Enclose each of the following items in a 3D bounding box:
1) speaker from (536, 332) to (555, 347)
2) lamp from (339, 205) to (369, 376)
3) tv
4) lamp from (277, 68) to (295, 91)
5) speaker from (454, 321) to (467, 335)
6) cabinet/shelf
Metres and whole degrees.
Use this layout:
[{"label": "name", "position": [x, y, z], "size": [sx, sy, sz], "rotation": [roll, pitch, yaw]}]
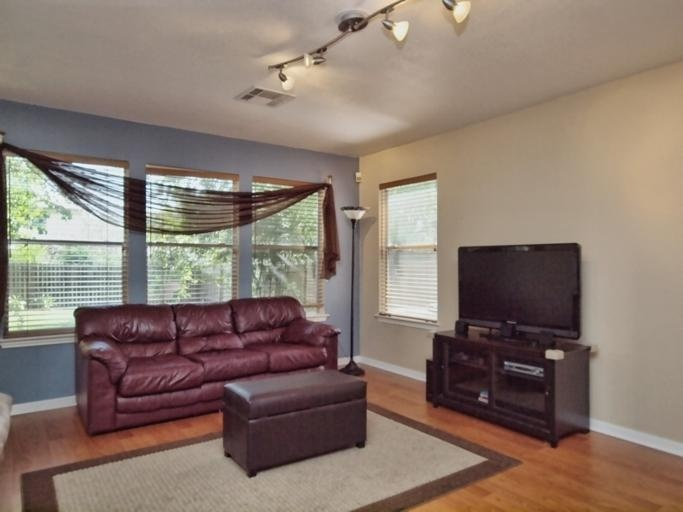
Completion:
[{"label": "speaker", "position": [1.837, 0.749, 4.807], "size": [0.147, 0.106, 0.161], "rotation": [4, 10, 26]}, {"label": "lamp", "position": [0.135, 0.465, 6.797], "size": [0.413, 2.147, 0.405], "rotation": [0, 4, -5]}, {"label": "tv", "position": [1.746, 0.369, 5.101], "size": [0.103, 0.707, 0.979], "rotation": [3, -4, -36]}, {"label": "lamp", "position": [-0.433, -1.489, 4.553], "size": [0.053, 0.199, 0.145], "rotation": [-36, 29, -3]}, {"label": "speaker", "position": [1.241, 0.734, 5.547], "size": [0.112, 0.151, 0.157], "rotation": [-1, -7, 34]}, {"label": "cabinet/shelf", "position": [1.582, 1.188, 5.140], "size": [0.616, 0.800, 1.387], "rotation": [-2, 2, -33]}]
